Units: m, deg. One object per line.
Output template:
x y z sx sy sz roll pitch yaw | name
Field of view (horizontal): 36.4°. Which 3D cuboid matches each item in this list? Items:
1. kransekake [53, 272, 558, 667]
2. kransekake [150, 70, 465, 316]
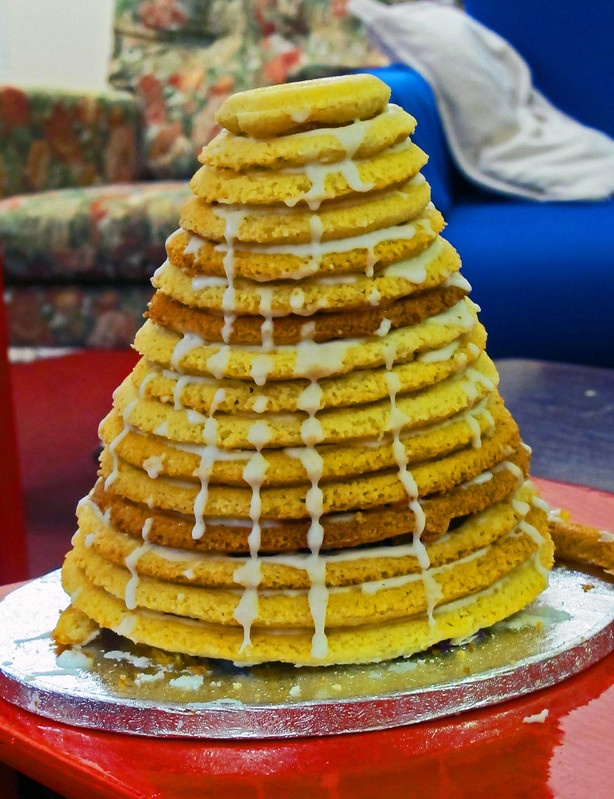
0.016 0.061 0.813 0.409 0.181 0.367 -12 20 -30 | kransekake
0.041 -0.172 0.800 0.262 0.132 0.239 -14 20 -30 | kransekake
